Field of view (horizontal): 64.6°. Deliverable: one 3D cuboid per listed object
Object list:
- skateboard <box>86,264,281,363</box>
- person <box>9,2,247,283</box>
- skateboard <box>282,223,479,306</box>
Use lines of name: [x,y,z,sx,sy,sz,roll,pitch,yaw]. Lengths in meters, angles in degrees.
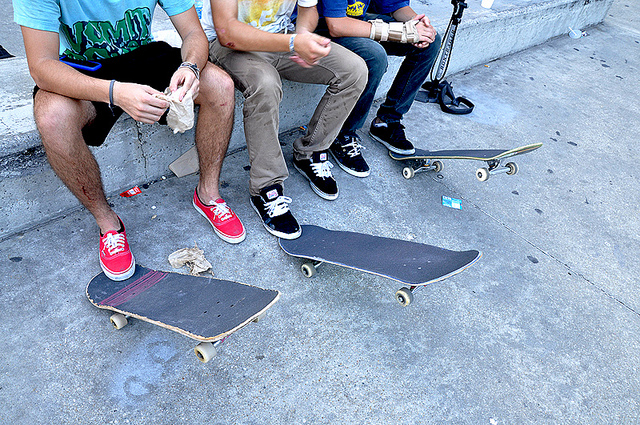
skateboard: [-0.861,0.542,3.087,1.350,0.209,0.491,15,35,21]
person: [-1.173,-0.561,3.355,1.204,1.387,1.127,-22,53,-28]
skateboard: [0.331,0.309,3.421,1.326,0.211,0.478,17,33,22]
